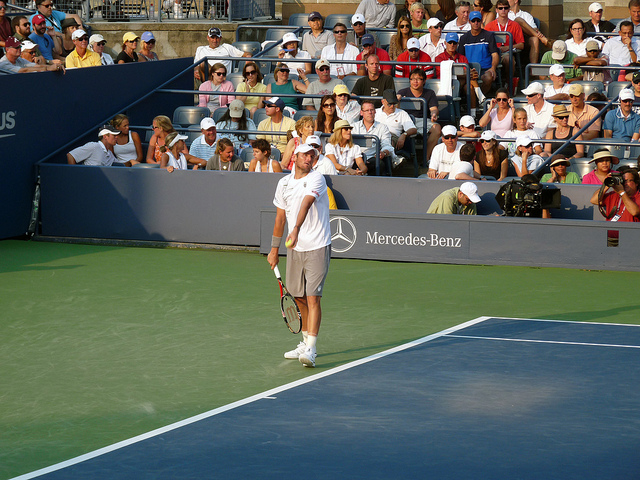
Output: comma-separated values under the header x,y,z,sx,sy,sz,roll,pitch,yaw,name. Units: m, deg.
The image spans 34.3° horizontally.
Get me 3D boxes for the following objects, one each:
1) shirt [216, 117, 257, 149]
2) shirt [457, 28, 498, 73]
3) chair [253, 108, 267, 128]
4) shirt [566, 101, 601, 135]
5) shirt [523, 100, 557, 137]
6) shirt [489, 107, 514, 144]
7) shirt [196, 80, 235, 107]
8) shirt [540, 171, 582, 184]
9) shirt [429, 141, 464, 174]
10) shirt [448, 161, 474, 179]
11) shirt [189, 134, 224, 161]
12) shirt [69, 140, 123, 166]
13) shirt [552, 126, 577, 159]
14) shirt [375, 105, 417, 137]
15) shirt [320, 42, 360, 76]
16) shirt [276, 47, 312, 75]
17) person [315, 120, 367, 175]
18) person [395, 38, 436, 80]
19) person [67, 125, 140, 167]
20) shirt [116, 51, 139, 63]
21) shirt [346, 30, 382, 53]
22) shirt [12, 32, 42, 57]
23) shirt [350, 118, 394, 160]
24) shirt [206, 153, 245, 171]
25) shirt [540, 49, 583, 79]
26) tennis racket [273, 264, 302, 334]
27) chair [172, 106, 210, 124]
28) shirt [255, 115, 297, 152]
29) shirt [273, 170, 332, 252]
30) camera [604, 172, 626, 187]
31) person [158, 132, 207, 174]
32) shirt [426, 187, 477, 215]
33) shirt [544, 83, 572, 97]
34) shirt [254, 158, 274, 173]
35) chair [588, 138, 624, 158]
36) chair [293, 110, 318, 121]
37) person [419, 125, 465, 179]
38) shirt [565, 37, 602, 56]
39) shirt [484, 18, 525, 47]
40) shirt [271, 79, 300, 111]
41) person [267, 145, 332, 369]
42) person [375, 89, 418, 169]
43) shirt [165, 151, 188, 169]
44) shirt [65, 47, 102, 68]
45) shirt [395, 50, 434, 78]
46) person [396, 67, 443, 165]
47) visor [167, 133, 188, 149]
x,y,z,sx,sy,sz,roll,pitch,yaw,name
-1.480,-1.939,18.550,0.711,0.523,0.697,-1,10,-12,shirt
3.076,-3.837,20.360,0.811,0.769,0.436,-1,32,13,shirt
-1.125,-2.241,18.772,0.297,0.354,0.328,0,-2,8,chair
4.451,-2.133,17.797,0.438,0.367,0.205,6,23,20,shirt
3.826,-2.132,18.040,0.530,0.598,0.902,2,10,10,shirt
3.155,-2.067,17.990,0.379,0.487,0.706,1,9,0,shirt
-1.959,-2.815,19.756,0.831,0.732,0.448,1,8,4,shirt
3.811,-0.976,16.419,0.425,0.162,0.293,-1,4,9,shirt
2.049,-1.315,17.095,0.553,0.508,0.271,8,23,-21,shirt
2.236,-1.105,16.447,0.313,0.285,0.165,9,3,30,shirt
-1.935,-1.598,17.873,0.599,0.308,0.173,4,3,-2,shirt
-3.862,-1.503,18.048,0.461,0.247,0.159,36,-12,-37,shirt
4.113,-1.667,17.534,0.395,0.545,1.010,3,10,12,shirt
1.278,-2.048,17.857,0.631,0.480,0.216,17,-10,11,shirt
0.439,-3.534,20.217,0.699,0.653,0.364,5,19,23,shirt
-0.512,-3.511,20.169,0.835,0.751,0.459,-4,7,2,shirt
0.376,-1.483,16.825,0.708,0.950,0.958,-1,5,-29,person
1.766,-3.405,19.680,0.742,0.760,0.974,1,28,4,person
-3.780,-1.611,18.001,1.168,0.659,0.514,-4,10,-24,person
-3.891,-3.701,20.795,0.265,0.282,0.447,4,8,35,shirt
0.822,-4.176,21.388,0.612,0.285,0.828,0,4,6,shirt
-5.336,-3.609,18.928,0.433,0.443,1.332,-2,10,-16,shirt
0.887,-1.705,17.422,0.700,0.658,0.691,1,10,3,shirt
-1.578,-1.297,17.326,0.392,0.282,0.124,1,1,3,shirt
4.626,-3.425,20.055,0.575,0.725,0.314,-2,-22,6,shirt
-0.385,0.780,12.592,0.085,0.250,0.945,-18,26,-11,tennis racket
-2.456,-2.376,19.511,0.499,0.449,0.405,0,-1,1,chair
-0.765,-1.868,18.082,0.975,0.622,0.437,10,13,43,shirt
-0.210,-0.348,12.054,0.816,0.897,0.554,-1,6,39,shirt
4.305,-0.883,15.191,0.303,0.224,0.231,3,10,13,camera
-2.426,-1.523,17.646,0.672,0.655,0.985,7,12,35,person
2.058,-0.594,16.152,0.751,0.424,0.354,1,10,4,shirt
4.268,-2.843,18.787,0.461,0.415,0.245,-1,-1,13,shirt
-0.926,-1.220,17.080,0.217,0.267,0.142,-1,10,8,shirt
4.685,-1.542,16.854,0.474,0.389,0.455,0,2,-4,chair
-0.260,-2.259,18.469,0.388,0.262,0.402,0,11,7,chair
1.980,-1.440,16.897,0.592,0.866,0.701,1,10,5,person
5.209,-3.883,20.620,0.690,0.335,0.417,3,-5,3,shirt
3.688,-4.245,21.001,0.913,0.684,0.321,0,9,4,shirt
-0.676,-2.753,19.414,0.550,0.554,0.437,2,10,9,shirt
-0.223,0.197,11.982,0.693,2.563,0.935,0,10,-3,person
1.136,-1.916,17.576,0.978,0.944,1.629,5,28,8,person
-2.430,-1.320,17.643,0.376,0.460,0.262,1,-10,-21,shirt
-4.543,-3.567,19.975,0.693,0.382,0.594,-2,10,-13,shirt
1.793,-3.405,19.804,0.729,0.523,1.037,1,9,4,shirt
1.761,-2.188,18.412,0.897,1.715,1.010,-13,18,-39,person
-2.399,-1.696,17.585,0.186,0.231,0.374,8,12,37,visor
